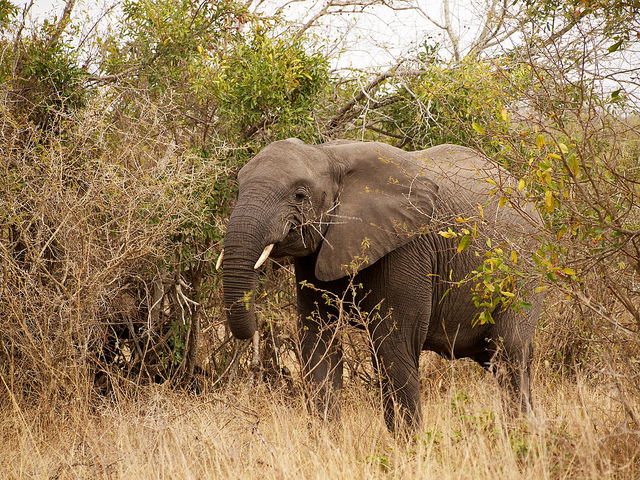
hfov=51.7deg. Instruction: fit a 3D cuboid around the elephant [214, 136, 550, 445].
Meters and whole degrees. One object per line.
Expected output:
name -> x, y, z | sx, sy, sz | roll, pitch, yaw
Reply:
elephant -> 0.725, 0.331, 5.643 | 3.018, 2.461, 1.922 | 4, -6, -15
